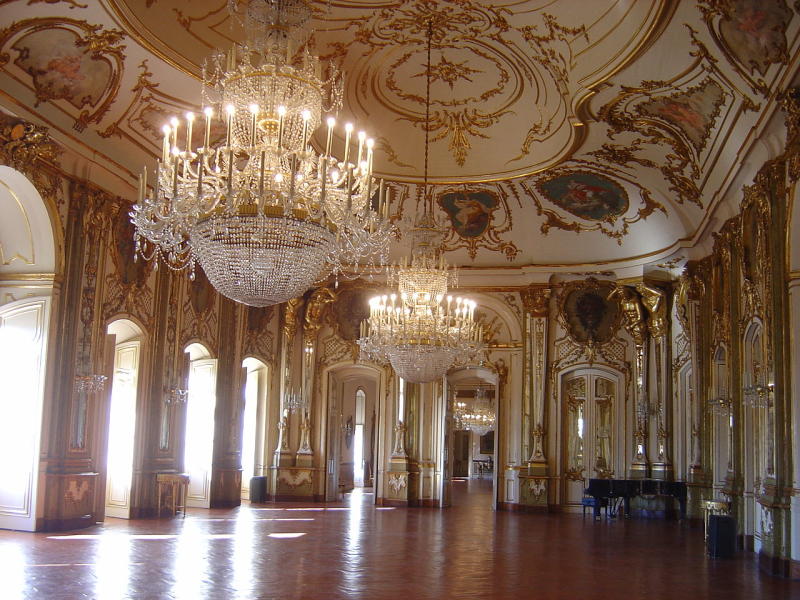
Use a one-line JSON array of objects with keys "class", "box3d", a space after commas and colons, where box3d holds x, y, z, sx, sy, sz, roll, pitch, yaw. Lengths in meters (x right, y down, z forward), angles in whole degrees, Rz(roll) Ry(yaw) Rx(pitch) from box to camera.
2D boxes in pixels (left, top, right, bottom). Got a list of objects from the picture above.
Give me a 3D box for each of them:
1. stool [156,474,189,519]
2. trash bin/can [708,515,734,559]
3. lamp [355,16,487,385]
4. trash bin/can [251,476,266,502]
[{"class": "stool", "box3d": [-4.789, 4.125, 15.092, 0.594, 0.724, 0.628, -7, -12, 12]}, {"class": "trash bin/can", "box3d": [5.224, 3.934, 11.515, 0.332, 0.629, 0.348, 17, -30, -25]}, {"class": "lamp", "box3d": [0.418, -1.559, 12.390, 1.634, 6.119, 1.803, 5, -14, -17]}, {"class": "trash bin/can", "box3d": [-3.597, 4.911, 18.217, 0.490, 0.690, 0.495, 10, -17, -32]}]
